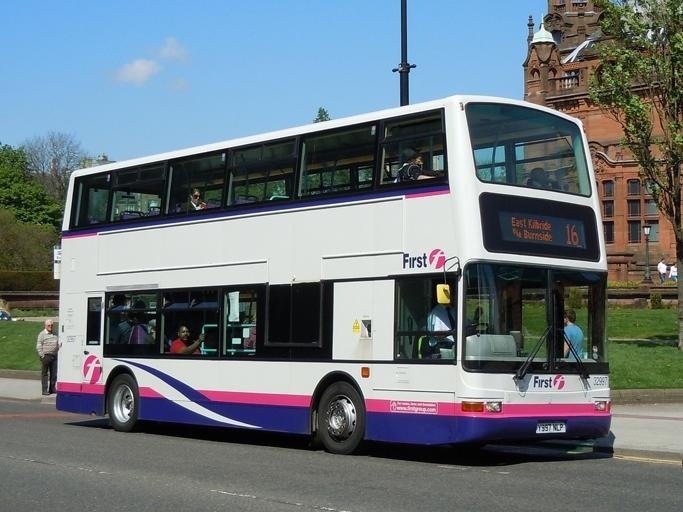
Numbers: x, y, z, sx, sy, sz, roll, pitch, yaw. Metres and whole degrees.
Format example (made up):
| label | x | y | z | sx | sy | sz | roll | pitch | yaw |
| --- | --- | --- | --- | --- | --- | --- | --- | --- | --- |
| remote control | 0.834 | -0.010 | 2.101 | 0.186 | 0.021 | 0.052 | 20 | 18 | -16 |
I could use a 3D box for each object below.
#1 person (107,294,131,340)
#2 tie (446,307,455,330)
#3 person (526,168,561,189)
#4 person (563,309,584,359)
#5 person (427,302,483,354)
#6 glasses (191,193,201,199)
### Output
| label | x | y | z | sx | sy | sz | roll | pitch | yaw |
| --- | --- | --- | --- | --- | --- | --- | --- | --- | --- |
| person | -4.905 | 1.396 | 16.097 | 0.551 | 0.998 | 0.388 | 1 | -1 | 30 |
| tie | 1.623 | 0.922 | 10.772 | 0.059 | 0.277 | 0.168 | -3 | -8 | -21 |
| person | 3.231 | -1.229 | 11.663 | 0.773 | 0.380 | 0.110 | 6 | -10 | -39 |
| person | 3.668 | 1.250 | 11.526 | 0.447 | 0.780 | 0.113 | 6 | -10 | -40 |
| person | 1.545 | 1.082 | 10.960 | 0.719 | 0.744 | 0.185 | -1 | -3 | 25 |
| glasses | -3.011 | -1.235 | 15.043 | 0.119 | 0.160 | 0.155 | 1 | -14 | -36 |
